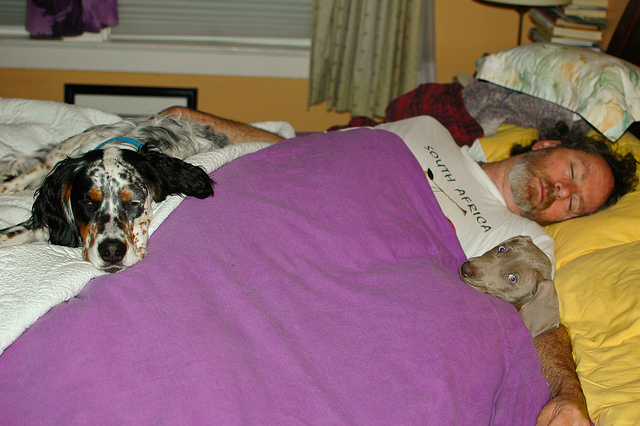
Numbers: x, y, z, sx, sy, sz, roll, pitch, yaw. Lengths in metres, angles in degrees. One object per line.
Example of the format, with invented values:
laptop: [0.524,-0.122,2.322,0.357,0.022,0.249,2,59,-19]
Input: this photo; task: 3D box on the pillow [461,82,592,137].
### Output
pillow: [1.261,-0.657,3.688,0.588,0.153,0.377,19,22,10]

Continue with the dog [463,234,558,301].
dog: [0.969,0.303,2.947,0.525,0.372,0.270,1,-36,-11]

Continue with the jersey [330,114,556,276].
jersey: [0.750,-0.028,3.459,0.875,0.954,0.319,-20,-16,-36]

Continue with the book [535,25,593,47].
book: [1.751,-1.253,4.125,0.290,0.074,0.302,7,23,8]

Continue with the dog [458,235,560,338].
dog: [0.969,0.423,2.941,0.466,0.499,0.454,-11,-16,40]

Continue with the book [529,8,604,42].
book: [1.748,-1.343,4.235,0.363,0.087,0.347,-15,33,-40]

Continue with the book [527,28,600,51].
book: [1.716,-1.197,4.028,0.330,0.083,0.345,20,24,19]

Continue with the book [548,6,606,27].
book: [1.839,-1.400,4.179,0.209,0.046,0.208,2,34,-2]
